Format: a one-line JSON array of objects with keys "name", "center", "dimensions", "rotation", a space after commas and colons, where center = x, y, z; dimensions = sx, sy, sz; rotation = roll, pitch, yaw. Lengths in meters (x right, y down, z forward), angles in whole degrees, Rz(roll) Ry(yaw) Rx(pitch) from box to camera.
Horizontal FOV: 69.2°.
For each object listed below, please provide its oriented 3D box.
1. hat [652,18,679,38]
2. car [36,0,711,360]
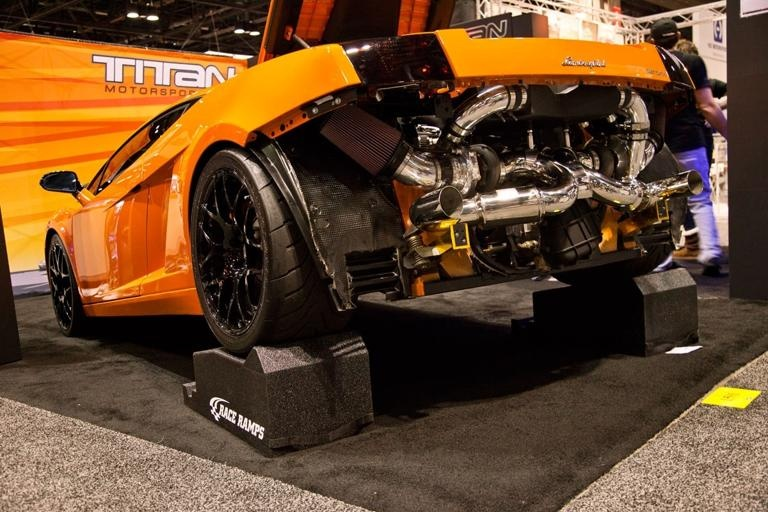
[{"name": "hat", "center": [2.745, -2.263, 5.490], "dimensions": [0.240, 0.121, 0.325], "rotation": [7, 24, 20]}, {"name": "car", "center": [-0.659, -0.530, 3.604], "dimensions": [2.007, 0.912, 3.375], "rotation": [-4, 2, -32]}]
